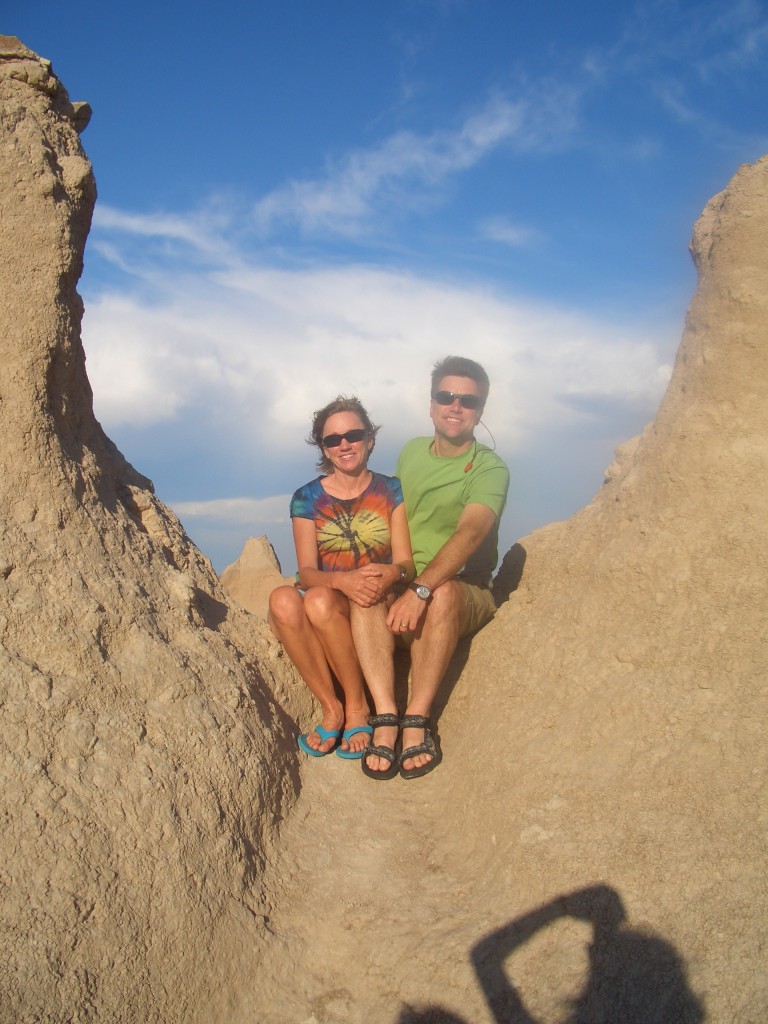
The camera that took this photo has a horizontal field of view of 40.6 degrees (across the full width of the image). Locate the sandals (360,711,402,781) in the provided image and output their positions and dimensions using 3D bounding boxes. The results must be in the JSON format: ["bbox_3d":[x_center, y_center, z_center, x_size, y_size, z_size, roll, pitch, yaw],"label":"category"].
[{"bbox_3d":[-0.001,0.986,4.658,0.193,0.207,0.581,4,9,4],"label":"sandals"}]

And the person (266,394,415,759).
[{"bbox_3d":[-0.193,0.280,4.884,0.596,1.617,0.886,1,9,8],"label":"person"}]

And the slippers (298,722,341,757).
[{"bbox_3d":[-0.290,1.037,4.713,0.162,0.093,0.374,4,-2,3],"label":"slippers"}]

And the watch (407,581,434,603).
[{"bbox_3d":[0.176,0.360,4.776,0.121,0.070,0.107,26,-14,-10],"label":"watch"}]

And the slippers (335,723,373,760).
[{"bbox_3d":[-0.132,1.032,4.668,0.181,0.106,0.450,-1,-2,1],"label":"slippers"}]

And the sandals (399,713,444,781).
[{"bbox_3d":[0.153,1.033,4.554,0.188,0.287,0.212,0,8,0],"label":"sandals"}]
